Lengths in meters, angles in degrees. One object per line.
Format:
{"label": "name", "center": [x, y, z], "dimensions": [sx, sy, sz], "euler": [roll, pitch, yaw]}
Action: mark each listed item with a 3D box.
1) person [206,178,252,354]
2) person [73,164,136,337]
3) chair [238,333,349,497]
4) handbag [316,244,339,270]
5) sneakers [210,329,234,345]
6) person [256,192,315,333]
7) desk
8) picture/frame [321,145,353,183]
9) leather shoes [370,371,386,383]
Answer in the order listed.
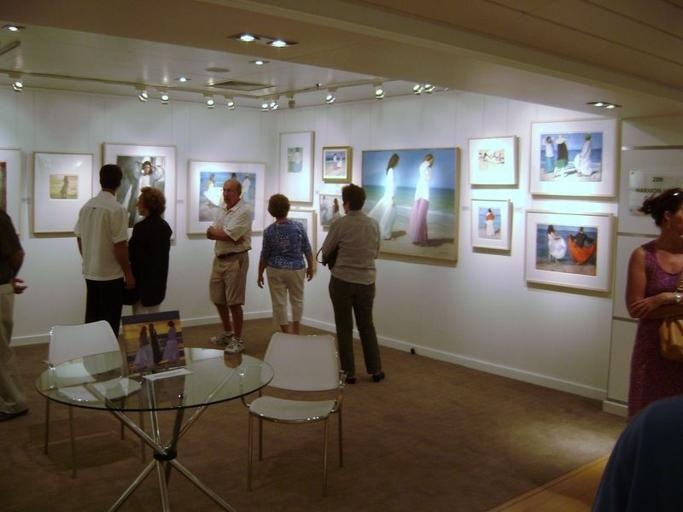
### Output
{"label": "person", "center": [-1.498, 0.143, 7.129], "dimensions": [0.538, 2.353, 0.816], "euler": [-5, 9, -37]}
{"label": "person", "center": [-2.617, -0.082, 5.901], "dimensions": [0.514, 1.861, 0.434], "euler": [-2, 8, -26]}
{"label": "chair", "center": [-0.337, 1.189, 4.433], "dimensions": [1.044, 1.653, 1.048], "euler": [0, -2, 7]}
{"label": "handbag", "center": [-0.118, 0.010, 6.327], "dimensions": [0.227, 0.263, 0.180], "euler": [19, 17, 30]}
{"label": "sneakers", "center": [-1.709, 1.177, 7.644], "dimensions": [0.385, 0.226, 0.192], "euler": [4, 9, 5]}
{"label": "person", "center": [-0.761, 0.196, 7.313], "dimensions": [0.728, 2.121, 1.399], "euler": [1, 8, -3]}
{"label": "desk", "center": [-1.246, 0.960, 3.492], "dimensions": [1.250, 0.834, 1.254], "euler": [-4, 7, -37]}
{"label": "picture/frame", "center": [-0.051, -1.454, 8.245], "dimensions": [0.586, 0.633, 0.066], "euler": [8, 9, 44]}
{"label": "leather shoes", "center": [0.440, 1.446, 6.379], "dimensions": [0.074, 0.096, 0.216], "euler": [0, -3, 17]}
